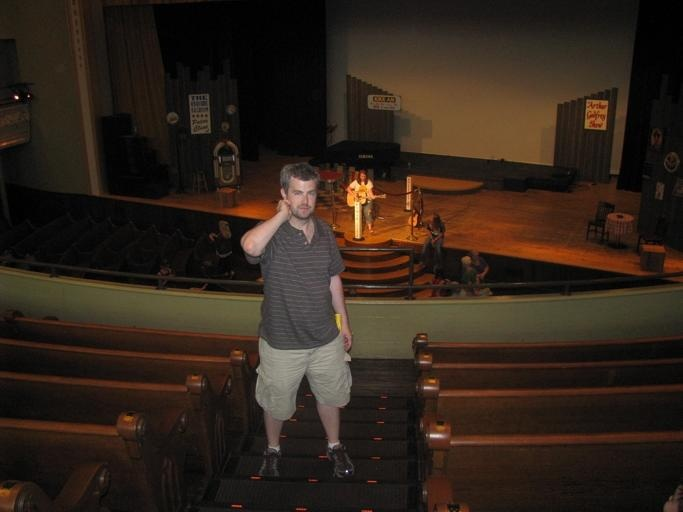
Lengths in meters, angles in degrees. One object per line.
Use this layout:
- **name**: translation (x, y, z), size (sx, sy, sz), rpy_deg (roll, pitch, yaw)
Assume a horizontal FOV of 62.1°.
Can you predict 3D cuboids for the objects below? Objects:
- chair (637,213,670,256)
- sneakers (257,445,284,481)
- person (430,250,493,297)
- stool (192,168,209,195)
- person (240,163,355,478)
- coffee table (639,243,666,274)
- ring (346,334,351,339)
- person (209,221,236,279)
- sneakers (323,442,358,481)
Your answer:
- **chair**: translation (5.336, -0.356, 9.617), size (0.395, 0.712, 0.412), rpy_deg (0, 37, 5)
- **sneakers**: translation (-0.548, 1.562, 4.308), size (0.128, 0.131, 0.304), rpy_deg (1, 10, -2)
- **person**: translation (1.848, 0.357, 8.542), size (0.727, 0.422, 1.043), rpy_deg (1, 10, 9)
- **stool**: translation (-3.276, -1.723, 13.180), size (0.357, 0.469, 0.233), rpy_deg (-7, 17, -19)
- **person**: translation (-0.291, 0.553, 4.073), size (0.720, 2.401, 0.355), rpy_deg (-1, 16, -1)
- **coffee table**: translation (4.922, 0.046, 8.985), size (0.409, 0.407, 0.419), rpy_deg (4, 26, 17)
- **ring**: translation (0.054, 0.599, 4.254), size (0.023, 0.047, 0.030), rpy_deg (-12, 4, 31)
- **person**: translation (-2.193, -0.089, 10.426), size (0.406, 1.070, 1.546), rpy_deg (-4, 17, -10)
- **sneakers**: translation (-0.008, 1.500, 4.339), size (0.152, 0.166, 0.360), rpy_deg (-10, 29, -16)
